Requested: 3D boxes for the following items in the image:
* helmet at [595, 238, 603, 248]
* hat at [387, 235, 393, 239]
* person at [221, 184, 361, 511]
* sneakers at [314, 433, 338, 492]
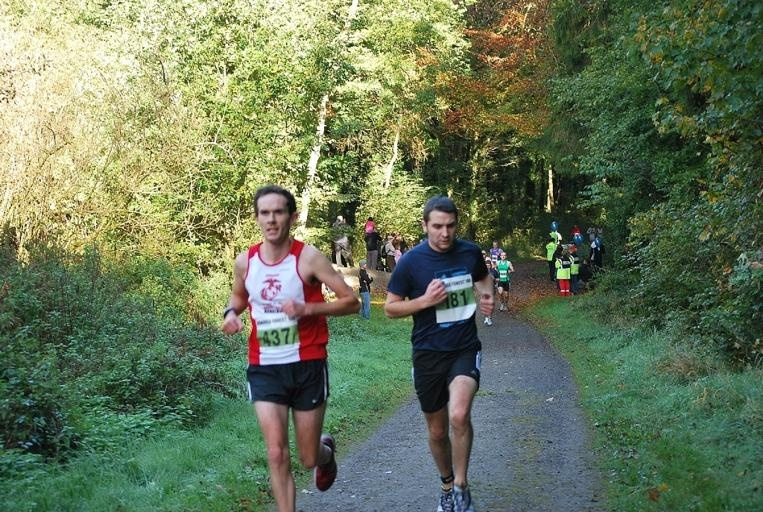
[{"bbox_3d":[8.263,-0.508,25.081,0.246,0.258,0.443,9,-37,43],"label":"helmet"},{"bbox_3d":[0.374,-0.767,27.691,0.161,0.135,0.126,0,-31,-36],"label":"hat"},{"bbox_3d":[-0.928,0.977,6.982,1.064,3.398,1.173,-3,9,-43],"label":"person"},{"bbox_3d":[-0.594,2.356,7.359,0.236,0.683,0.288,-1,1,25],"label":"sneakers"}]
